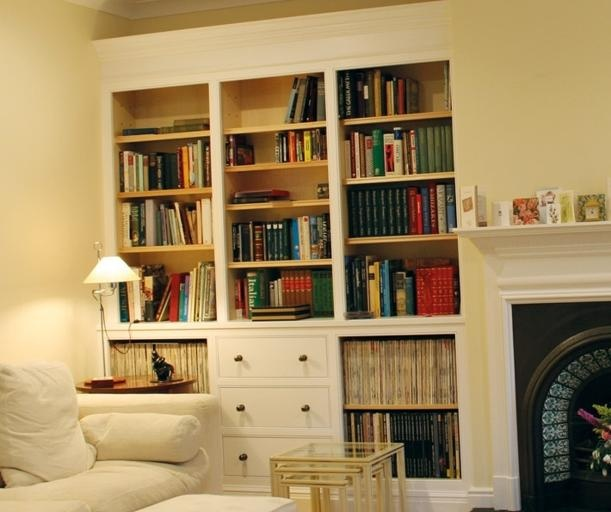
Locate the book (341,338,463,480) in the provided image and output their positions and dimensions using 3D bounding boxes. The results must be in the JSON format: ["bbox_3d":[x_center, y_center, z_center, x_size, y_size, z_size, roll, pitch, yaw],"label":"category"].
[{"bbox_3d":[0.579,0.877,4.038,0.884,0.982,0.327,-1,-2,14],"label":"book"}]

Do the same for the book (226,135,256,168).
[{"bbox_3d":[-0.422,-0.662,4.487,0.086,0.223,0.240,-3,1,27],"label":"book"}]

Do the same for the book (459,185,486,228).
[{"bbox_3d":[0.902,-0.260,3.859,0.129,0.163,0.117,-2,-8,-22],"label":"book"}]

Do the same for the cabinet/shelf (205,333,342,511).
[{"bbox_3d":[-0.134,0.967,4.474,0.857,1.029,0.531,-2,2,20],"label":"cabinet/shelf"}]

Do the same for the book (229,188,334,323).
[{"bbox_3d":[-0.156,0.024,4.405,0.876,0.812,0.273,-1,-1,13],"label":"book"}]

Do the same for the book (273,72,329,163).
[{"bbox_3d":[-0.034,-0.856,4.339,0.316,0.562,0.153,-2,-6,1],"label":"book"}]

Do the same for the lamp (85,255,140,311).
[{"bbox_3d":[-1.153,0.179,4.250,0.362,0.343,0.350,-3,3,5],"label":"lamp"}]
